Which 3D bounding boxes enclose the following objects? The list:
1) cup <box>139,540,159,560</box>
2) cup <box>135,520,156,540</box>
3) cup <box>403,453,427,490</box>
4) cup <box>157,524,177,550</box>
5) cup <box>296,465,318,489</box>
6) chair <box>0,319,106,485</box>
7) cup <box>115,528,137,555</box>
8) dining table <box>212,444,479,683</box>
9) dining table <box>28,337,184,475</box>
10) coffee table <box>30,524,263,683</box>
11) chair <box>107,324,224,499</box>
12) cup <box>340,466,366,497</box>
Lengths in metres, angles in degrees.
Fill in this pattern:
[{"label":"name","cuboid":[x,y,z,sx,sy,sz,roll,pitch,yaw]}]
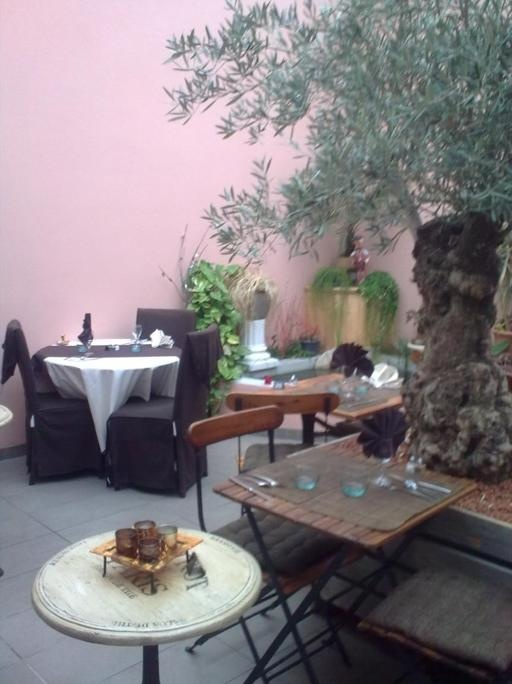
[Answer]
[{"label":"cup","cuboid":[-0.236,0.472,1.141,0.037,0.040,0.037,1,8,0]},{"label":"cup","cuboid":[-0.259,0.444,1.209,0.039,0.033,0.042,2,12,-4]},{"label":"cup","cuboid":[0.500,0.414,1.595,0.039,0.047,0.153,-1,19,14]},{"label":"cup","cuboid":[-0.208,0.465,1.212,0.043,0.050,0.049,1,12,-3]},{"label":"cup","cuboid":[0.155,0.415,1.530,0.057,0.064,0.060,-2,12,0]},{"label":"chair","cuboid":[-1.448,0.365,4.246,0.994,1.499,0.900,-4,13,-20]},{"label":"cup","cuboid":[-0.296,0.461,1.196,0.052,0.056,0.055,1,9,0]},{"label":"dining table","cuboid":[0.270,0.424,1.667,0.712,0.750,0.751,10,17,41]},{"label":"dining table","cuboid":[-0.955,0.374,3.585,0.767,0.559,0.807,-2,9,-24]},{"label":"coffee table","cuboid":[-0.248,0.548,1.185,0.524,0.119,0.475,-1,4,14]},{"label":"chair","cuboid":[-0.610,0.397,4.047,0.925,1.612,0.986,6,8,16]},{"label":"cup","cuboid":[0.291,0.424,1.491,0.074,0.055,0.060,-1,4,12]}]
